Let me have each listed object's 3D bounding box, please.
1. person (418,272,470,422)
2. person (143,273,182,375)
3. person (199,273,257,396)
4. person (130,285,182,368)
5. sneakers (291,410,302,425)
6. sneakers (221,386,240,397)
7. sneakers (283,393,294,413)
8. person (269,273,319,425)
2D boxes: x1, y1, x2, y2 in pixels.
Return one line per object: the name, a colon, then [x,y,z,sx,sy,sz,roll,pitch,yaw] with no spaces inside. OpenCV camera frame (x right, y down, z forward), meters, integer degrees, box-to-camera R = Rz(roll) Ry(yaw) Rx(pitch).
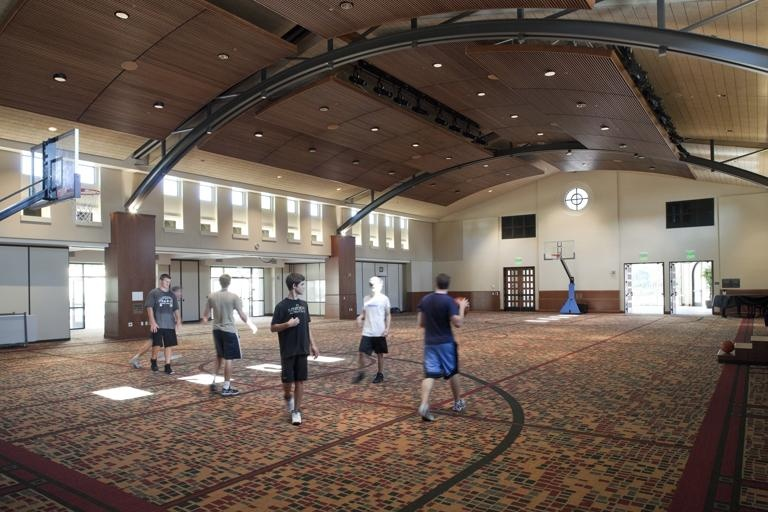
person: [0.855,1.308,6.819,0.791,2.094,1.041,-4,-4,6]
person: [-4.704,1.446,9.847,0.610,2.110,1.351,-2,-4,-24]
person: [-2.626,1.365,7.788,0.746,2.095,1.318,-2,-4,-20]
person: [-4.881,1.610,10.334,1.152,2.109,0.874,3,3,-4]
sneakers: [-1.256,2.314,6.597,0.151,0.187,0.284,-2,-3,-12]
sneakers: [-2.637,2.371,7.987,0.393,0.132,0.133,1,-3,-27]
sneakers: [-1.378,2.190,6.730,0.185,0.330,0.164,-1,-11,3]
person: [-1.323,1.339,6.829,0.630,2.163,1.083,-3,-4,-8]
